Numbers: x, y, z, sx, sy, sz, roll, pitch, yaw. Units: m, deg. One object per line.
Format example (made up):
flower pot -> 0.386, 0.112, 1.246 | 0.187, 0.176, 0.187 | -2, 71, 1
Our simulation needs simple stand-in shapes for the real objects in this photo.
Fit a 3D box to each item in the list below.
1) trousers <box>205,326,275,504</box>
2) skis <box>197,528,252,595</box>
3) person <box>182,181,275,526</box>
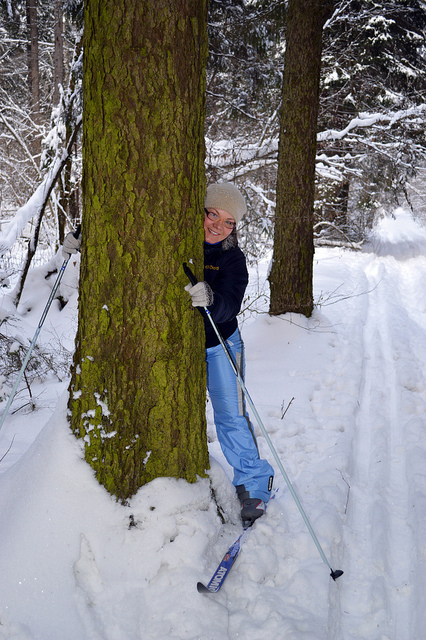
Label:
trousers -> 0.145, 0.621, 4.486 | 0.302, 1.225, 0.297 | -8, 3, 4
skis -> 0.088, 1.323, 3.904 | 0.098, 0.148, 0.800 | 19, 20, 10
person -> 0.138, 0.193, 4.252 | 0.531, 1.963, 0.793 | 3, 13, 5
